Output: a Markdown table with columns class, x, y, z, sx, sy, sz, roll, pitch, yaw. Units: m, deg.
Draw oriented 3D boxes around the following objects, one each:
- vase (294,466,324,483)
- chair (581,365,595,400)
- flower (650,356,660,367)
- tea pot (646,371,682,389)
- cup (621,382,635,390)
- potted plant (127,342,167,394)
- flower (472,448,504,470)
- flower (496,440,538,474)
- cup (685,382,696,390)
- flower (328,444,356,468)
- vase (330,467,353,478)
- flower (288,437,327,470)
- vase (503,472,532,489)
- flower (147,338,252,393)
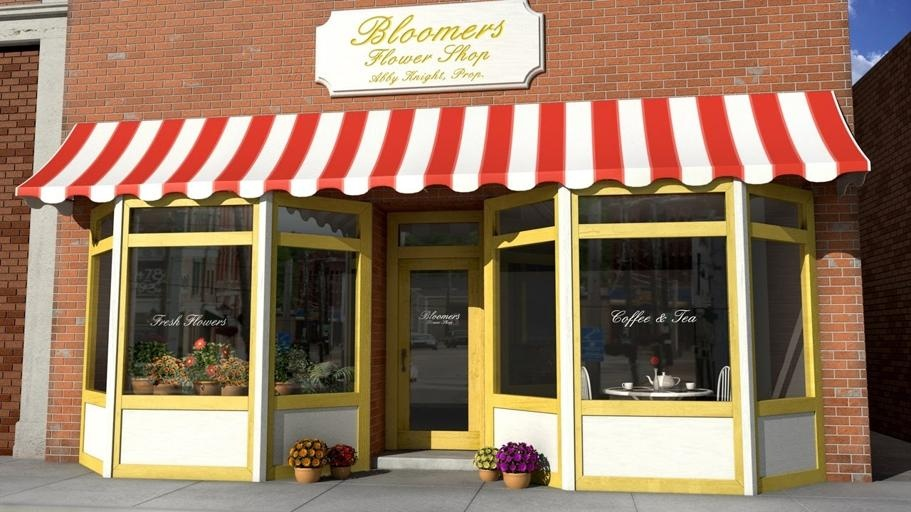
| class | x | y | z | sx | sy | sz | roll | pitch | yaw |
| --- | --- | --- | --- | --- | --- | --- | --- | --- | --- |
| vase | -3.020 | 4.437 | 19.567 | 0.433 | 0.208 | 0.408 | 2 | -1 | -32 |
| chair | 2.638 | 2.556 | 19.281 | 0.215 | 0.655 | 0.114 | -1 | -12 | 2 |
| flower | 3.990 | 2.122 | 19.236 | 0.180 | 0.199 | 0.053 | 4 | -4 | 10 |
| tea pot | 4.154 | 2.529 | 19.200 | 0.586 | 0.260 | 0.359 | 0 | 1 | 17 |
| cup | 3.442 | 2.610 | 19.240 | 0.172 | 0.111 | 0.185 | 0 | -9 | 0 |
| potted plant | -6.414 | 2.390 | 20.061 | 1.147 | 1.104 | 0.858 | 1 | -12 | 2 |
| flower | 0.694 | 4.162 | 19.666 | 0.511 | 0.349 | 0.510 | -2 | -2 | 39 |
| flower | 1.241 | 4.064 | 19.317 | 0.726 | 0.402 | 0.658 | 1 | -2 | 12 |
| cup | 4.679 | 2.599 | 19.152 | 0.166 | 0.095 | 0.155 | -1 | -1 | 0 |
| flower | -2.365 | 4.148 | 19.836 | 0.561 | 0.193 | 0.498 | 0 | 6 | -7 |
| vase | -2.363 | 4.464 | 19.825 | 0.335 | 0.188 | 0.307 | 4 | -5 | -34 |
| flower | -3.015 | 4.040 | 19.649 | 0.753 | 0.583 | 0.324 | -2 | -12 | 5 |
| vase | 1.237 | 4.522 | 19.313 | 0.504 | 0.304 | 0.244 | -1 | -11 | 3 |
| flower | -5.294 | 2.327 | 20.116 | 1.860 | 0.721 | 1.162 | -1 | -19 | 7 |
